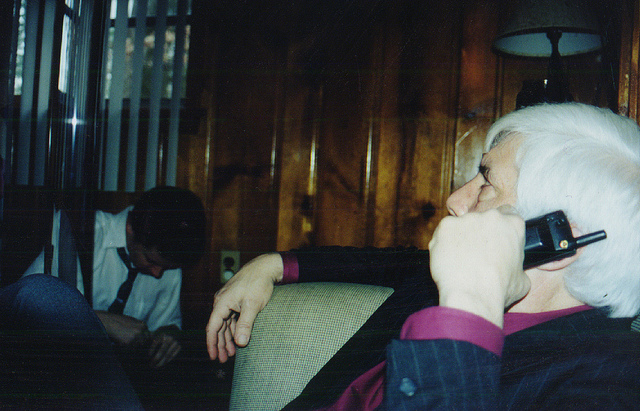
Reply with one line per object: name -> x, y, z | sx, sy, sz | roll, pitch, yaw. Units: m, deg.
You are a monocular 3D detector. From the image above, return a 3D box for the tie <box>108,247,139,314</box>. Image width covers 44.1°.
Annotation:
tie -> -0.962, 0.383, 4.001 | 0.202, 0.276, 0.103 | 5, -13, 46

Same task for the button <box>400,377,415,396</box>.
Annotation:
button -> 0.336, 0.696, 3.039 | 0.056, 0.046, 0.008 | 4, 3, 4

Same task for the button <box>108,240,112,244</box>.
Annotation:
button -> -1.049, 0.180, 3.965 | 0.019, 0.019, 0.007 | 3, 3, -15
